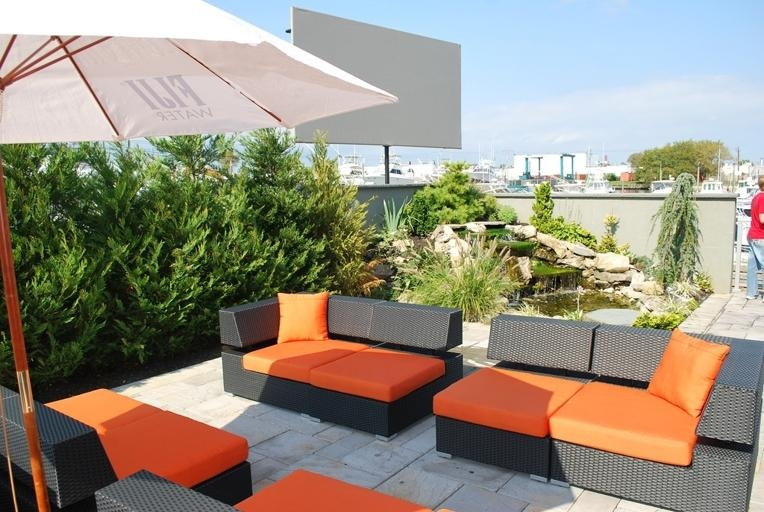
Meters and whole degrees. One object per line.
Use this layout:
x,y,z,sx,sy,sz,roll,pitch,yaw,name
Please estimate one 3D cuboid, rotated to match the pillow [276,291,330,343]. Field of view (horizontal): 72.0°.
-0.812,0.645,5.486,0.568,0.502,0.197,-4,-9,13,pillow
